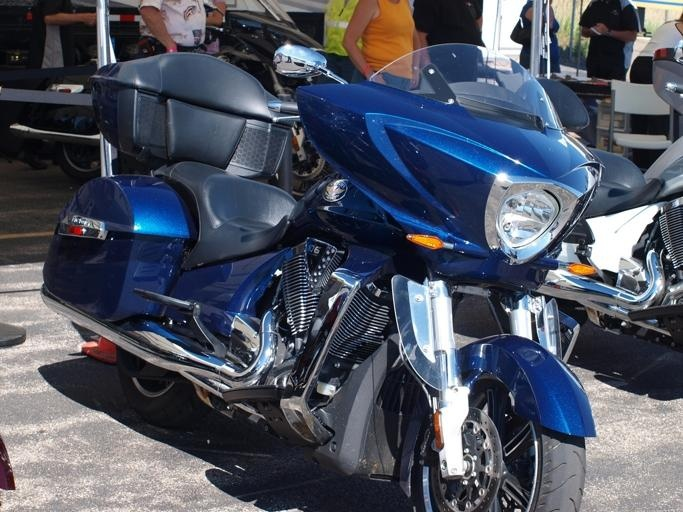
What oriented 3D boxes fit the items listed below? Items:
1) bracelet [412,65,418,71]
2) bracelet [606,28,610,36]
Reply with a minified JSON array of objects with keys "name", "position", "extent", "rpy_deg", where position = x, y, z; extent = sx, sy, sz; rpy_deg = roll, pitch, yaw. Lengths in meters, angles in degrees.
[{"name":"bracelet","position":[0.255,-0.653,2.314],"extent":[0.021,0.021,0.007],"rpy_deg":[-3,-15,36]},{"name":"bracelet","position":[3.606,-3.035,9.047],"extent":[0.048,0.051,0.056],"rpy_deg":[5,11,18]}]
